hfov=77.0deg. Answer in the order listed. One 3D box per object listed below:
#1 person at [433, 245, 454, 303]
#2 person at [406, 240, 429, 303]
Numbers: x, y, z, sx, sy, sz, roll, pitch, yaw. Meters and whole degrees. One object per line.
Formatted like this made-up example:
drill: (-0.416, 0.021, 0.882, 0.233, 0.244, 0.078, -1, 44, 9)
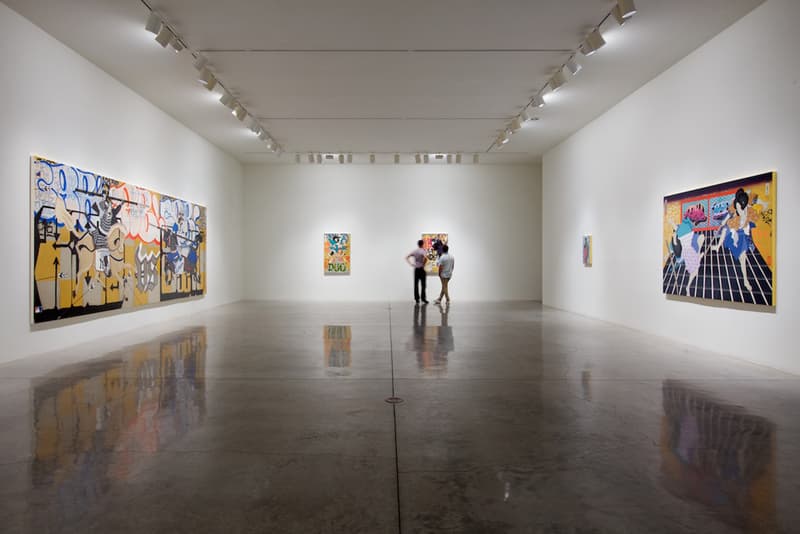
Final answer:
person: (1.289, 0.229, 14.769, 0.526, 1.735, 1.403, 1, 10, 5)
person: (0.522, 0.089, 14.876, 0.564, 1.891, 1.164, 1, 10, 2)
